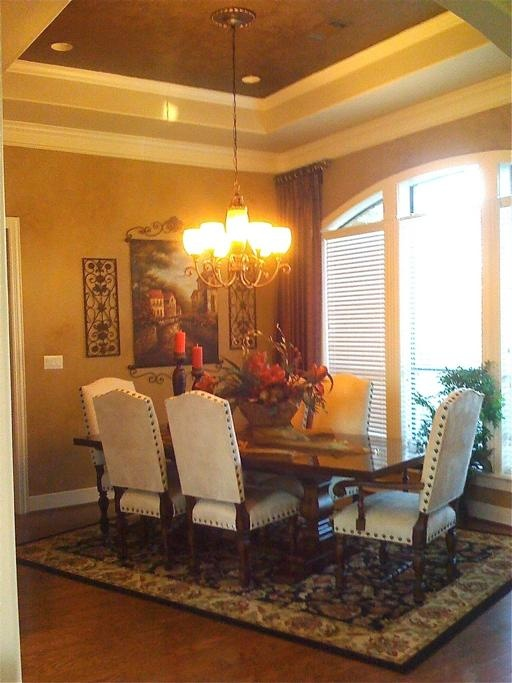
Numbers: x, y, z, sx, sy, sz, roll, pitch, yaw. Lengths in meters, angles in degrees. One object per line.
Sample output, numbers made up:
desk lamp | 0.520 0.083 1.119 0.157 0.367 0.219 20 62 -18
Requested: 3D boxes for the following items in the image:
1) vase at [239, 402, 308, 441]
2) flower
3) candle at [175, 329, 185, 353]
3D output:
vase | 0.103 0.429 3.308 0.344 0.159 0.335 0 -3 -24
flower | -0.023 0.285 3.479 0.912 0.624 0.860 -2 -5 17
candle | -0.462 0.014 3.548 0.050 0.146 0.106 -2 0 3
